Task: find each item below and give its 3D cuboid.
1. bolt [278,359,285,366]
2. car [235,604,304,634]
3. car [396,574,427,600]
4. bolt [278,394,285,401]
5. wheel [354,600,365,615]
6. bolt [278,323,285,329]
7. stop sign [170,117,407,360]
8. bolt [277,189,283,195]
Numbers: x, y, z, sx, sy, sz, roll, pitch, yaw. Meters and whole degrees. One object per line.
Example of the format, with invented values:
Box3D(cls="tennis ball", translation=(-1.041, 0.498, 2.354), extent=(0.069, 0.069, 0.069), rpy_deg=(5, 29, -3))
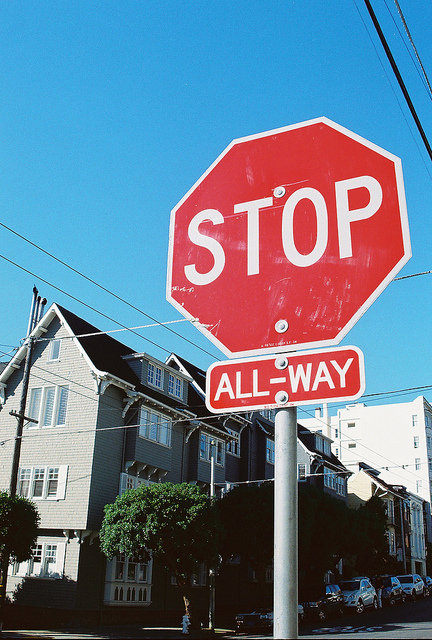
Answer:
Box3D(cls="bolt", translation=(0.207, 0.134, 2.161), extent=(0.023, 0.024, 0.005), rpy_deg=(-13, -27, 30))
Box3D(cls="car", translation=(1.629, 12.378, 27.737), extent=(1.300, 0.951, 1.798), rpy_deg=(10, -25, -21))
Box3D(cls="car", translation=(12.387, 17.283, 43.396), extent=(1.486, 1.237, 2.587), rpy_deg=(-11, -50, 19))
Box3D(cls="bolt", translation=(0.201, 0.238, 2.095), extent=(0.024, 0.022, 0.004), rpy_deg=(-15, -28, 33))
Box3D(cls="wheel", translation=(6.960, 14.034, 32.965), extent=(0.320, 0.623, 1.633), rpy_deg=(-7, -24, 17))
Box3D(cls="bolt", translation=(0.222, 0.017, 2.314), extent=(0.024, 0.023, 0.002), rpy_deg=(-14, -27, 30))
Box3D(cls="stop sign", translation=(0.220, -0.336, 2.471), extent=(0.933, 0.947, 0.075), rpy_deg=(-13, -27, 30))
Box3D(cls="bolt", translation=(0.235, -0.482, 2.502), extent=(0.016, 0.024, 0.007), rpy_deg=(1, -3, 12))
